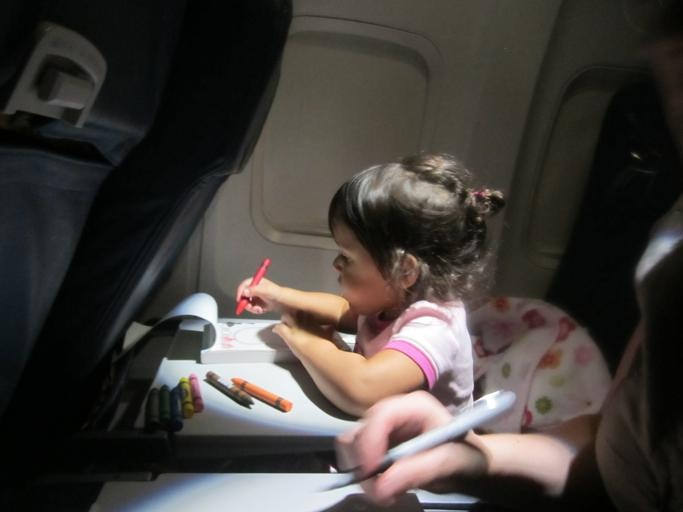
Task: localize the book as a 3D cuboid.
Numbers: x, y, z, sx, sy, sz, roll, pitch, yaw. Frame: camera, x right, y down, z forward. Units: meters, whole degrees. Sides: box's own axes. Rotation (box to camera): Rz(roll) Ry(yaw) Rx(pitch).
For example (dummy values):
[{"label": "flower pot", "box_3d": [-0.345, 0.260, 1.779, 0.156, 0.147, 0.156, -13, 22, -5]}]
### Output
[{"label": "book", "box_3d": [-0.261, 0.156, 1.040, 0.319, 0.086, 0.186, 1, 16, -11]}]
